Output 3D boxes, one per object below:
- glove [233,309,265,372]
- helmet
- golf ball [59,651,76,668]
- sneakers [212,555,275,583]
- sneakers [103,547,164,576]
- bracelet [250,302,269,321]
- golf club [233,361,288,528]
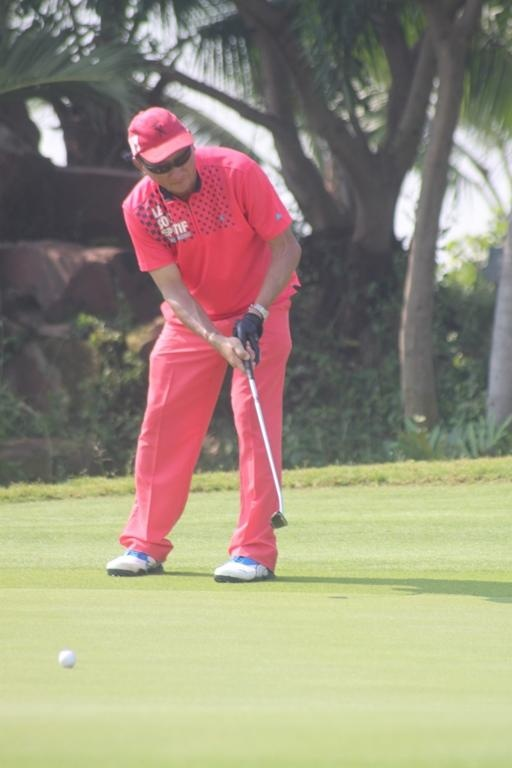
[{"bbox_3d":[-0.024,-0.131,4.269,0.087,0.151,0.047,5,1,29],"label":"glove"},{"bbox_3d":[-0.292,-0.723,4.178,0.149,0.099,0.205,-29,32,-8],"label":"helmet"},{"bbox_3d":[-0.392,0.571,2.928,0.033,0.032,0.034,3,7,0],"label":"golf ball"},{"bbox_3d":[-0.041,0.543,4.141,0.074,0.063,0.181,24,-23,-40],"label":"sneakers"},{"bbox_3d":[-0.364,0.533,4.261,0.187,0.075,0.067,4,-12,-10],"label":"sneakers"},{"bbox_3d":[0.006,-0.224,4.274,0.049,0.034,0.050,44,-12,-2],"label":"bracelet"},{"bbox_3d":[0.027,0.179,4.285,0.088,0.613,0.090,-21,-19,33],"label":"golf club"}]
